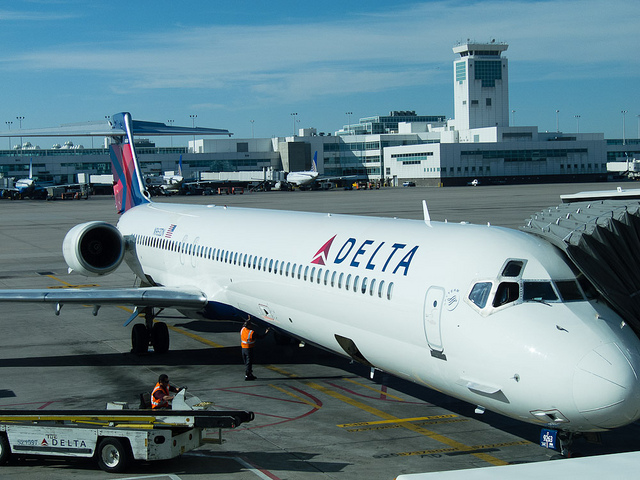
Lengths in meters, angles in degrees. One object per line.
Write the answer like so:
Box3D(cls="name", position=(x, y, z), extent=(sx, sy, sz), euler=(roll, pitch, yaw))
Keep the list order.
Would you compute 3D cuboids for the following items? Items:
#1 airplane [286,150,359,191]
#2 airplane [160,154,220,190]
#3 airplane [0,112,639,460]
Box3D(cls="airplane", position=(-3.695, -11.849, 143.262), extent=(21.352, 5.199, 17.673), euler=(1, -2, -19))
Box3D(cls="airplane", position=(-23.793, -11.689, 134.928), extent=(12.870, 4.198, 10.552), euler=(2, 17, -9))
Box3D(cls="airplane", position=(0.720, 1.241, 18.852), extent=(12.457, 2.815, 13.060), euler=(-3, 7, -24))
